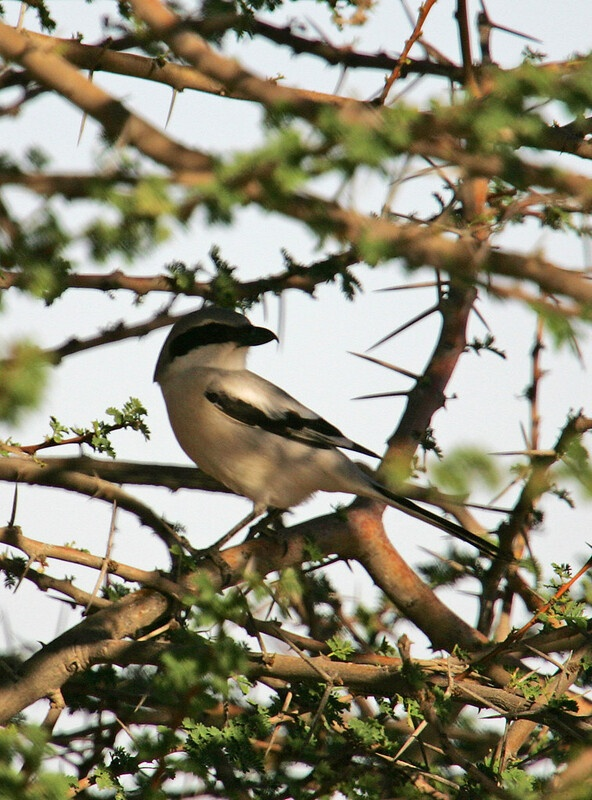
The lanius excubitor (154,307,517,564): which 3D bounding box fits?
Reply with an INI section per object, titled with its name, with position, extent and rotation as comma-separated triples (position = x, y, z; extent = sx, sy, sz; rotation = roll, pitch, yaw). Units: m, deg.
[lanius excubitor]
position = 0.083, 0.112, 5.494
extent = 1.289, 0.295, 0.664
rotation = 13, -99, -16
